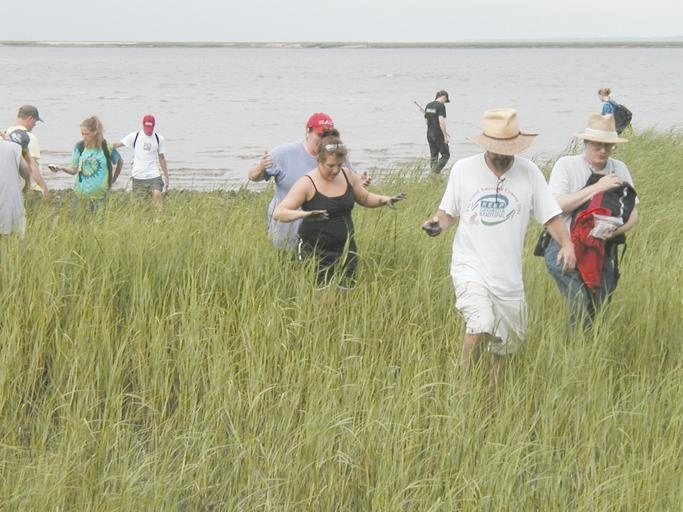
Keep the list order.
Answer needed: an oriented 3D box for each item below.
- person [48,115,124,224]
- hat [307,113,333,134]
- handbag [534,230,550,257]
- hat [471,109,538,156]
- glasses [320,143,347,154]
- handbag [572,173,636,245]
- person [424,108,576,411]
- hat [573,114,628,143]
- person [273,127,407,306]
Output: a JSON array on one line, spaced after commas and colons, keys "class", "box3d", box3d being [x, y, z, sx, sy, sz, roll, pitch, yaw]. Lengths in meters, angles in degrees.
[{"class": "person", "box3d": [-3.293, -1.155, 10.911, 0.746, 1.197, 2.388, -4, 19, -16]}, {"class": "hat", "box3d": [-0.192, -1.239, 7.660, 0.173, 0.163, 0.272, -1, 10, -16]}, {"class": "handbag", "box3d": [1.845, -0.109, 7.564, 0.093, 0.259, 0.196, 14, 49, -8]}, {"class": "hat", "box3d": [1.296, -1.028, 6.653, 0.507, 0.318, 0.585, 6, 20, 25]}, {"class": "glasses", "box3d": [-0.056, -0.927, 7.080, 0.107, 0.038, 0.118, 0, -16, -11]}, {"class": "handbag", "box3d": [2.260, -0.374, 6.991, 0.455, 0.632, 0.227, 28, -10, 34]}, {"class": "person", "box3d": [1.292, -0.061, 6.592, 0.953, 2.113, 0.817, -4, 17, -17]}, {"class": "hat", "box3d": [2.271, -1.113, 7.318, 0.289, 0.136, 0.329, 6, 15, -3]}, {"class": "person", "box3d": [-0.007, -0.157, 7.388, 1.035, 1.944, 0.660, -15, 26, -25]}]
